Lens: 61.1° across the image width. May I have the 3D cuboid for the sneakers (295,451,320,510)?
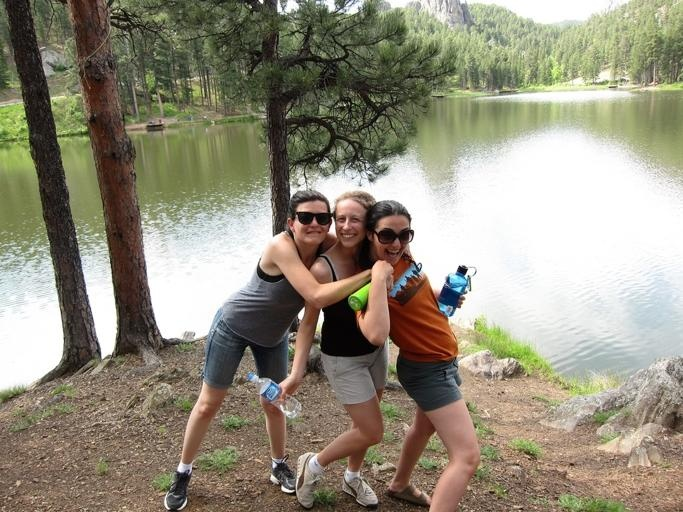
[{"bbox_3d":[-0.364,2.295,5.885,0.257,0.613,0.211,-4,-5,37],"label":"sneakers"}]

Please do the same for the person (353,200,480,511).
[{"bbox_3d":[0.747,1.124,5.552,0.913,3.219,1.285,-15,20,-33],"label":"person"}]

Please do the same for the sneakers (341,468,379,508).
[{"bbox_3d":[0.180,2.414,6.028,0.450,0.211,0.235,34,21,16],"label":"sneakers"}]

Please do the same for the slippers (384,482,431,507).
[{"bbox_3d":[0.703,2.490,6.094,0.493,0.223,0.181,10,7,7],"label":"slippers"}]

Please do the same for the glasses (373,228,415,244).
[{"bbox_3d":[0.499,-0.193,5.527,0.379,0.195,0.121,-6,17,-9],"label":"glasses"}]

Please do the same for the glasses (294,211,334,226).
[{"bbox_3d":[-0.267,-0.370,5.585,0.341,0.154,0.066,-5,17,-6],"label":"glasses"}]
